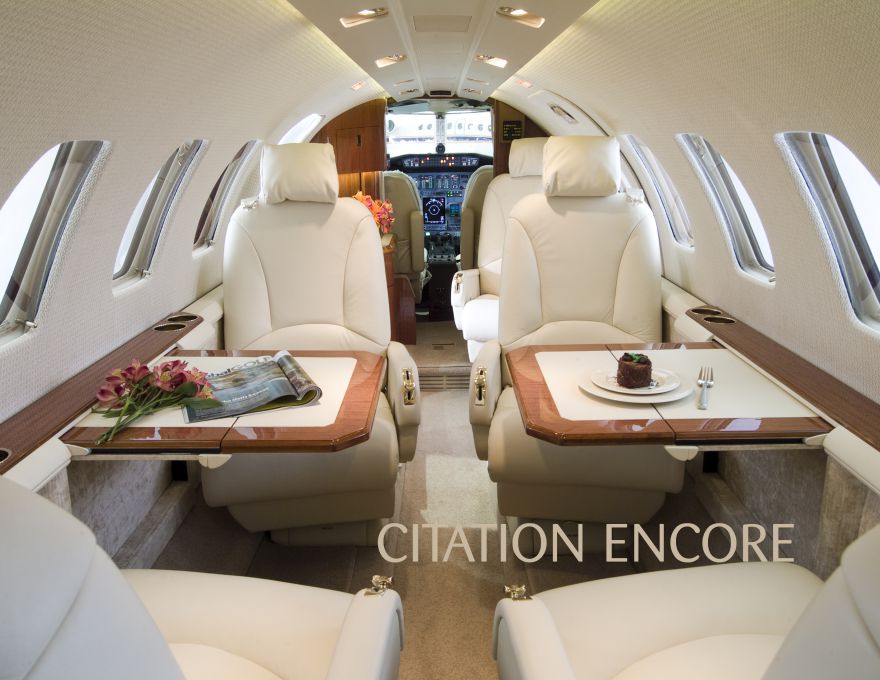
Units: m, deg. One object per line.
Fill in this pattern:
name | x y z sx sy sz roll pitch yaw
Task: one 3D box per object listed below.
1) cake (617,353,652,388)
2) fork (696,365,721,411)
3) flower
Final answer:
cake | 0.669 0.103 2.091 0.108 0.112 0.112 -1 7 0
fork | 0.945 0.153 2.071 0.055 0.045 0.320 -2 32 24
flower | -0.974 0.165 1.991 0.246 0.166 0.314 22 25 13
